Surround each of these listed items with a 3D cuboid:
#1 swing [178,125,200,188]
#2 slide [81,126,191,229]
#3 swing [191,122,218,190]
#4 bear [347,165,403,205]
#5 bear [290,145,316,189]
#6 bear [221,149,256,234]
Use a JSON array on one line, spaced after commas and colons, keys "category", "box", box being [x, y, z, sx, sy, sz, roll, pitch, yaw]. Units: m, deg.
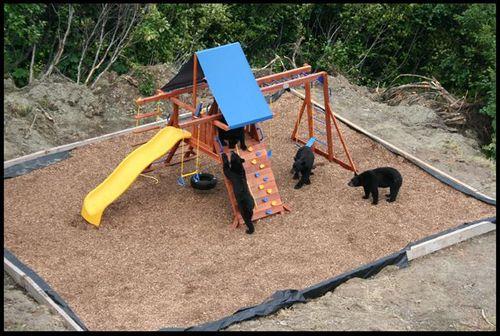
[{"category": "swing", "box": [-1.545, -0.191, 13.266, 0.489, 1.591, 0.557, -11, 34, -4]}, {"category": "slide", "box": [-2.858, 0.149, 12.978, 2.723, 1.572, 0.742, -22, 38, -31]}, {"category": "swing", "box": [-1.192, -0.198, 13.408, 0.679, 1.521, 0.838, -9, 34, -14]}, {"category": "bear", "box": [3.184, 0.450, 13.383, 1.331, 0.841, 0.559, -9, 34, -14]}, {"category": "bear", "box": [1.348, -0.007, 13.922, 0.499, 0.863, 0.880, 8, 34, 13]}, {"category": "bear", "box": [-0.288, 0.572, 12.607, 0.770, 1.856, 0.773, 4, 40, 13]}]
